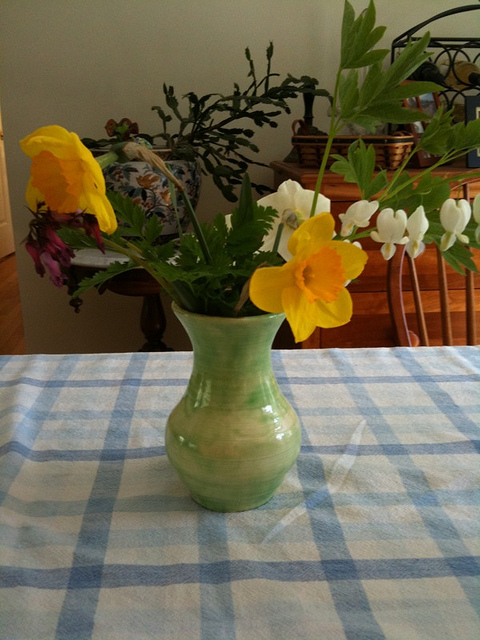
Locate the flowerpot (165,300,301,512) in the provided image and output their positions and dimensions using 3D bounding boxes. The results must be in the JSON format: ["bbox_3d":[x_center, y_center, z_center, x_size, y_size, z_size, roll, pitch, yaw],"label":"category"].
[{"bbox_3d":[-0.010,0.088,0.467,0.132,0.209,0.094,1,26,6],"label":"flowerpot"}]

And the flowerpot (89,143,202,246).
[{"bbox_3d":[-0.204,-0.413,1.734,0.341,0.331,0.331,14,17,19],"label":"flowerpot"}]

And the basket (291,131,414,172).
[{"bbox_3d":[0.364,-0.543,1.594,0.406,0.116,0.336,2,23,8],"label":"basket"}]

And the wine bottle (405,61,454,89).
[{"bbox_3d":[0.698,-0.922,1.834,0.141,0.096,0.241,11,26,25],"label":"wine bottle"}]

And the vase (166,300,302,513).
[{"bbox_3d":[-0.006,0.088,0.503,0.155,0.181,0.141,0,4,12],"label":"vase"}]
